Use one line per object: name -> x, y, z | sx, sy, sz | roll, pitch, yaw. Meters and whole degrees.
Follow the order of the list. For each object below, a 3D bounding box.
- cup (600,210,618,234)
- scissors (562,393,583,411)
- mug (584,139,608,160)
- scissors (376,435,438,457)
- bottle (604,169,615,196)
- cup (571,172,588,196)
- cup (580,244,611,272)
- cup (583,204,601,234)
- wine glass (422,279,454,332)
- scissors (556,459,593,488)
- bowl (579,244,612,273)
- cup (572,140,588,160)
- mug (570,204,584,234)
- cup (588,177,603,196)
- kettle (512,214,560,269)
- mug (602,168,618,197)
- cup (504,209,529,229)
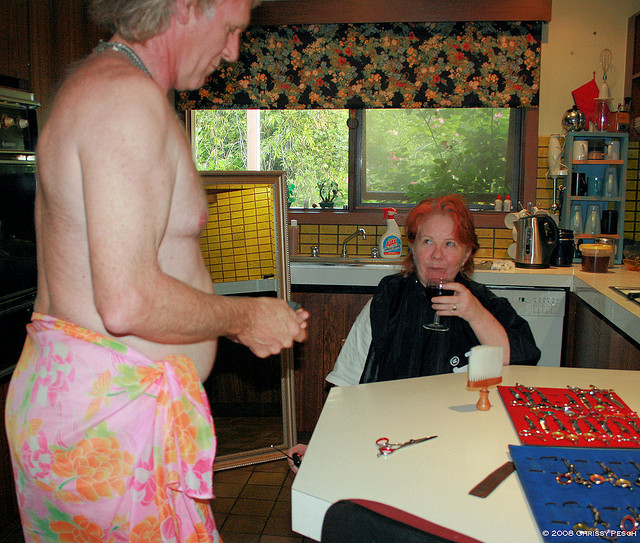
cup -> 1.757, -0.300, 3.219 | 0.090, 0.143, 0.045 | 0, 11, 26
scissors -> 0.598, 0.309, 1.260 | 0.019, 0.024, 0.058 | 4, 14, -43
mug -> 1.689, -0.747, 3.221 | 0.127, 0.126, 0.080 | -3, 10, 10
scissors -> 0.176, 0.361, 1.103 | 0.100, 0.010, 0.036 | -4, 20, -23
bottle -> 1.758, -0.542, 3.216 | 0.053, 0.158, 0.081 | 0, 11, 27
cup -> 1.592, -0.541, 3.249 | 0.095, 0.141, 0.045 | -9, 10, -23
cup -> 1.520, -0.079, 2.926 | 0.143, 0.131, 0.145 | -1, 7, 0
cup -> 1.695, -0.330, 3.304 | 0.096, 0.173, 0.201 | 0, 10, 26
wine glass -> 0.406, 0.113, 1.815 | 0.101, 0.205, 0.297 | -2, 9, 13
scissors -> 0.457, 0.365, 0.949 | 0.056, 0.010, 0.077 | 2, 11, 33
bowl -> 1.520, -0.074, 2.926 | 0.161, 0.142, 0.153 | 0, 6, 0
cup -> 1.594, -0.745, 3.239 | 0.079, 0.111, 0.056 | -7, 10, -14
mug -> 1.604, -0.331, 3.309 | 0.078, 0.179, 0.130 | 0, 10, 23
cup -> 1.688, -0.523, 3.240 | 0.087, 0.115, 0.063 | -2, 10, 15
kettle -> 1.261, -0.169, 3.081 | 0.329, 0.340, 0.208 | 2, 4, 31
mug -> 1.776, -0.549, 3.241 | 0.081, 0.172, 0.173 | 1, 11, 28
cup -> 1.212, -0.335, 3.314 | 0.154, 0.093, 0.107 | -19, -13, 29
